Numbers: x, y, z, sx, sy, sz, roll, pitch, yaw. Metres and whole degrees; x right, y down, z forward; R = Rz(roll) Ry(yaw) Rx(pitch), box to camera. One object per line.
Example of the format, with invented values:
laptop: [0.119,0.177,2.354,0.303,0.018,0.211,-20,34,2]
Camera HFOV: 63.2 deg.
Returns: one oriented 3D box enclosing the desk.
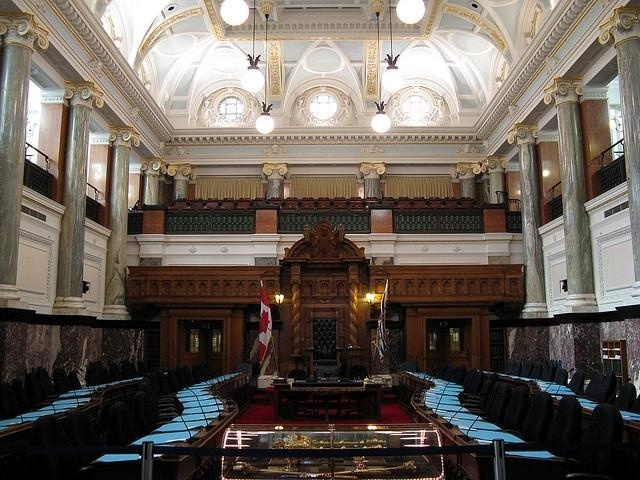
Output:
desk: [0.146,3.196,10.512,1.607,0.627,1.236,0,-14,0]
